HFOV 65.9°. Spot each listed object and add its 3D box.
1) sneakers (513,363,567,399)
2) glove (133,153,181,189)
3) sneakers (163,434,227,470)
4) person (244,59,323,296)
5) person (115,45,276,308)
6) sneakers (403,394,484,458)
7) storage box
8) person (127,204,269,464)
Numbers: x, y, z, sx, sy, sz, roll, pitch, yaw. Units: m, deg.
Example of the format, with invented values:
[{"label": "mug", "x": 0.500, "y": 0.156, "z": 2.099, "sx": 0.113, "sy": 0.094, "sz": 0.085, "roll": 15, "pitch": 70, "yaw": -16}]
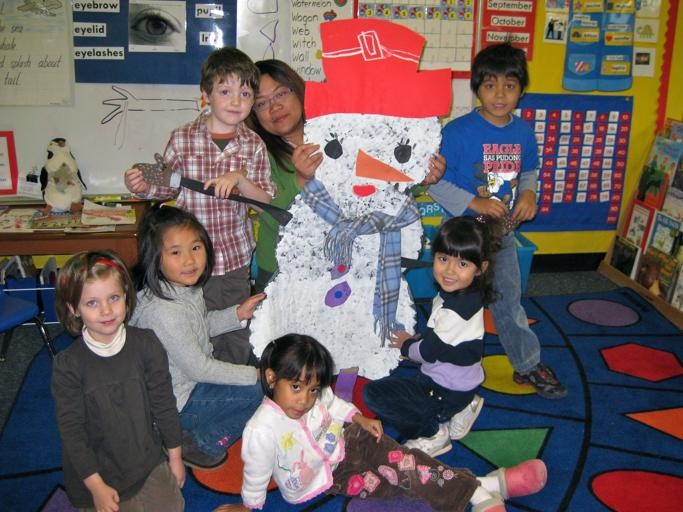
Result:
[{"label": "sneakers", "x": 1.012, "y": 0.639, "z": 2.699, "sx": 0.251, "sy": 0.124, "sz": 0.118, "roll": 11, "pitch": 21, "yaw": 38}, {"label": "glove", "x": -0.741, "y": -0.359, "z": 2.102, "sx": 0.145, "sy": 0.068, "sz": 0.267, "roll": -38, "pitch": -7, "yaw": -22}, {"label": "sneakers", "x": -0.605, "y": 0.842, "z": 2.290, "sx": 0.306, "sy": 0.131, "sz": 0.119, "roll": -7, "pitch": -10, "yaw": 41}, {"label": "person", "x": -0.256, "y": -0.365, "z": 2.388, "sx": 0.492, "sy": 0.936, "sz": 0.210, "roll": -1, "pitch": 11, "yaw": -17}, {"label": "person", "x": -0.645, "y": -0.145, "z": 2.384, "sx": 0.647, "sy": 1.486, "sz": 0.486, "roll": -5, "pitch": 28, "yaw": -27}, {"label": "sneakers", "x": 0.465, "y": 0.777, "z": 2.399, "sx": 0.466, "sy": 0.190, "sz": 0.158, "roll": -18, "pitch": 24, "yaw": -22}, {"label": "storage box", "x": 0.831, "y": 0.043, "z": 3.338, "sx": 0.764, "sy": 0.335, "sz": 0.523, "roll": 0, "pitch": 18, "yaw": -1}, {"label": "person", "x": -0.559, "y": 0.320, "z": 2.197, "sx": 0.578, "sy": 0.996, "sz": 0.457, "roll": 2, "pitch": 9, "yaw": 10}]
